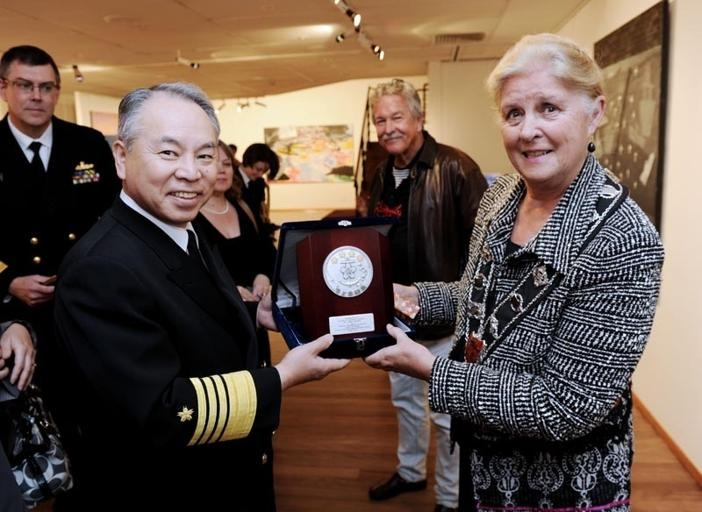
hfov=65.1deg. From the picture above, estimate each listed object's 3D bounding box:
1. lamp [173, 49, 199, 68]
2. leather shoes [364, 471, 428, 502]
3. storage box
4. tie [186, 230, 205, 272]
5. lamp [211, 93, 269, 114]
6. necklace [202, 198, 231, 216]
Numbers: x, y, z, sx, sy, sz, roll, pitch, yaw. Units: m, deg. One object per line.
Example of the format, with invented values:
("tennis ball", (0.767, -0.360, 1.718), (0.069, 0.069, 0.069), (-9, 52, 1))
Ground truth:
("lamp", (-2.274, -2.657, 7.559), (0.272, 0.294, 0.295), (7, 15, 30))
("leather shoes", (0.251, 1.240, 2.997), (0.316, 0.124, 0.116), (-3, 6, -11))
("storage box", (-0.059, 0.121, 2.117), (0.492, 0.522, 0.545), (-2, 0, -9))
("tie", (-0.544, -0.019, 1.909), (0.036, 0.128, 0.091), (2, 16, 38))
("lamp", (-2.740, -3.818, 13.794), (1.150, 0.344, 0.790), (-1, 11, 12))
("necklace", (-0.787, -0.279, 3.209), (0.181, 0.098, 0.247), (0, 5, -2))
